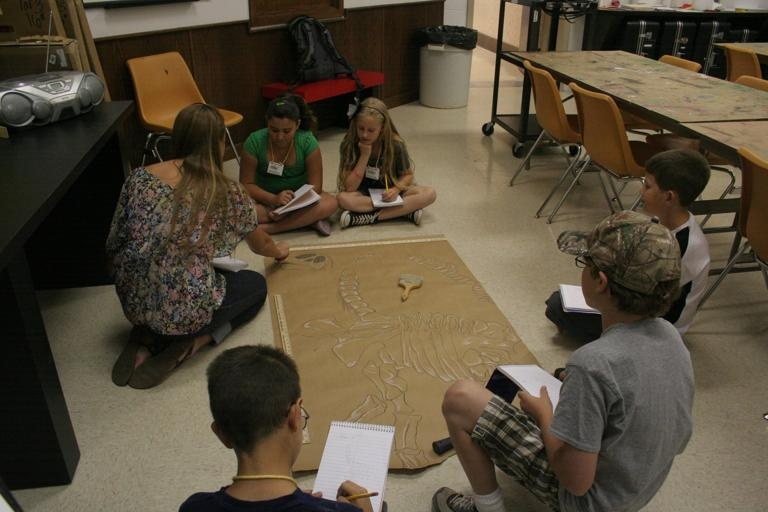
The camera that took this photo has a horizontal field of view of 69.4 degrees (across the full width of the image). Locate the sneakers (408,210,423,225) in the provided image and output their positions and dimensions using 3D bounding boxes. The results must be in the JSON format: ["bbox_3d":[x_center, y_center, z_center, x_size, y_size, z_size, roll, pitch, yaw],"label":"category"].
[{"bbox_3d":[0.247,-0.285,4.268,0.075,0.047,0.129,0,72,5],"label":"sneakers"}]

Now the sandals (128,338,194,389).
[{"bbox_3d":[-1.161,0.564,2.934,0.191,0.087,0.334,45,54,12],"label":"sandals"}]

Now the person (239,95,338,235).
[{"bbox_3d":[-0.679,-0.642,3.988,0.737,0.900,0.799,9,30,6],"label":"person"}]

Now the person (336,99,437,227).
[{"bbox_3d":[-0.049,-0.682,4.127,0.760,0.883,0.732,15,28,37],"label":"person"}]

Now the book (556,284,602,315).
[{"bbox_3d":[1.051,0.227,3.060,0.239,0.058,0.235,1,34,-7],"label":"book"}]

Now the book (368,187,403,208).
[{"bbox_3d":[0.029,-0.431,4.239,0.253,0.118,0.205,-6,30,-7],"label":"book"}]

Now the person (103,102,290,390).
[{"bbox_3d":[-1.024,-0.075,3.133,0.963,1.403,0.806,7,19,-16],"label":"person"}]

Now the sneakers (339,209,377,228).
[{"bbox_3d":[-0.185,-0.301,4.247,0.339,0.116,0.144,-6,12,-16],"label":"sneakers"}]

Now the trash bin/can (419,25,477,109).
[{"bbox_3d":[0.673,-2.451,7.114,0.842,0.964,0.958,-7,30,-14],"label":"trash bin/can"}]

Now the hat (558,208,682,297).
[{"bbox_3d":[0.828,-0.025,2.008,0.250,0.213,0.385,-13,40,-37],"label":"hat"}]

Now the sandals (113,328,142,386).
[{"bbox_3d":[-1.337,0.525,3.017,0.108,0.139,0.342,7,47,-5],"label":"sandals"}]

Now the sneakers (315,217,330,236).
[{"bbox_3d":[-0.446,-0.206,4.141,0.082,0.060,0.144,-36,60,-16],"label":"sneakers"}]
